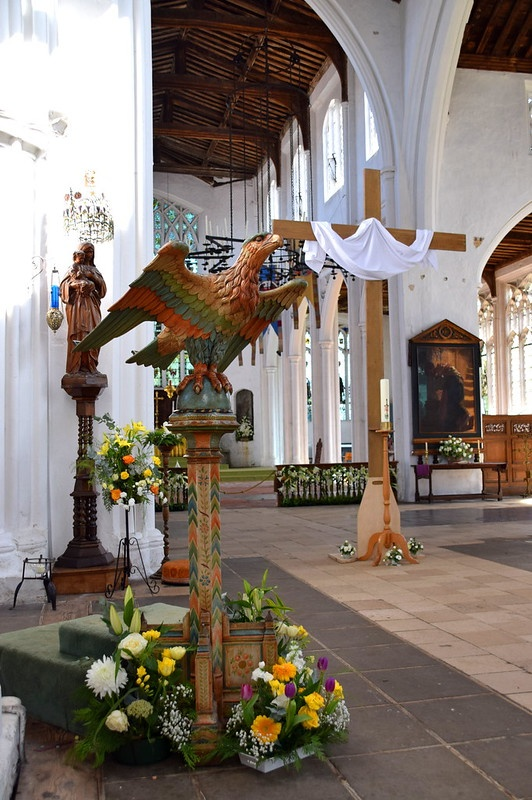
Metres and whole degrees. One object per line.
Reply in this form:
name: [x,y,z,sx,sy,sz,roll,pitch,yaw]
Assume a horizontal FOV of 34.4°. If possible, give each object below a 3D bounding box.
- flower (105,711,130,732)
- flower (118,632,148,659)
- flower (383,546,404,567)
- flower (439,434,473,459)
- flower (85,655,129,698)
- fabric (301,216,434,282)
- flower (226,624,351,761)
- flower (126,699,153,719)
flower: [-0.480,1.056,2.817,0.075,0.038,0.075,33,12,-31]
flower: [-0.446,0.837,2.909,0.099,0.083,0.055,-1,-3,-10]
flower: [0.973,1.228,6.760,0.137,0.164,0.136,7,-19,-22]
flower: [2.830,0.688,12.915,0.382,0.267,0.382,3,1,8]
flower: [-0.521,0.929,2.861,0.094,0.147,0.109,-3,-3,26]
fabric: [0.920,-1.265,7.321,1.177,0.565,0.105,0,-9,-13]
flower: [0.069,1.004,2.918,0.347,0.259,0.385,-1,-1,41]
flower: [-0.415,1.027,2.857,0.065,0.049,0.066,-5,-9,35]
